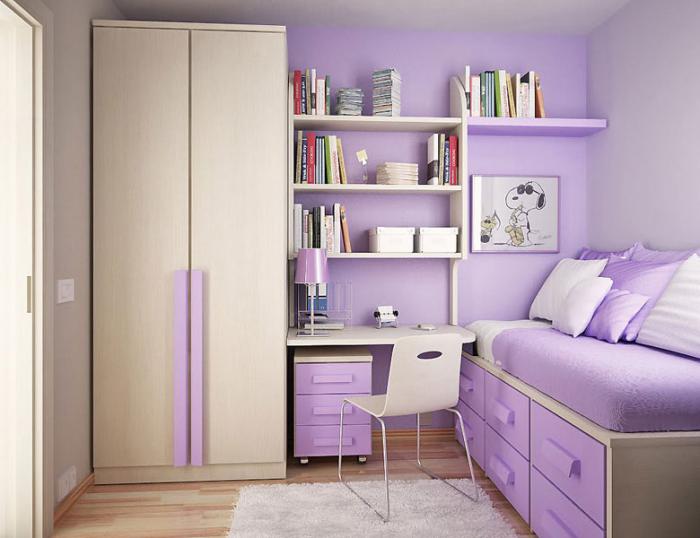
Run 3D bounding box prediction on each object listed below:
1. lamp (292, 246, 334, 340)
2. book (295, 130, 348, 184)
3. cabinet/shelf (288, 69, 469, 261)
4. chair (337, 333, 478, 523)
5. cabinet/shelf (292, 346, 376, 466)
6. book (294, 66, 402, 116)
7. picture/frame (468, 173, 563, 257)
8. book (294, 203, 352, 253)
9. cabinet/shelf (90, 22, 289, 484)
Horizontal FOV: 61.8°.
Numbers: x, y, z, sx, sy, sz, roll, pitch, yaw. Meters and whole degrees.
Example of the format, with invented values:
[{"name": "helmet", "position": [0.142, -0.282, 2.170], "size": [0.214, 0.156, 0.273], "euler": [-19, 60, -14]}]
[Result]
[{"name": "lamp", "position": [-0.246, 0.136, 3.697], "size": [0.203, 0.560, 0.349], "euler": [-2, 8, -4]}, {"name": "book", "position": [-0.207, -0.672, 3.915], "size": [0.295, 0.430, 0.413], "euler": [1, -3, -14]}, {"name": "cabinet/shelf", "position": [0.155, -0.719, 3.928], "size": [1.209, 1.231, 0.379], "euler": [0, -3, -2]}, {"name": "chair", "position": [0.330, 0.832, 3.409], "size": [0.725, 0.981, 0.790], "euler": [0, 3, -7]}, {"name": "cabinet/shelf", "position": [-0.088, 0.849, 3.789], "size": [0.503, 0.838, 0.619], "euler": [0, -3, -7]}, {"name": "book", "position": [-0.018, -1.185, 3.932], "size": [0.774, 0.334, 0.302], "euler": [-2, 8, -4]}, {"name": "picture/frame", "position": [1.152, -0.402, 4.153], "size": [0.537, 0.500, 0.038], "euler": [-1, 3, -1]}, {"name": "book", "position": [-0.203, -0.225, 3.974], "size": [0.403, 0.438, 0.295], "euler": [0, -2, -11]}, {"name": "cabinet/shelf", "position": [-0.937, -0.093, 3.415], "size": [1.156, 2.661, 0.315], "euler": [-2, 8, -3]}]
